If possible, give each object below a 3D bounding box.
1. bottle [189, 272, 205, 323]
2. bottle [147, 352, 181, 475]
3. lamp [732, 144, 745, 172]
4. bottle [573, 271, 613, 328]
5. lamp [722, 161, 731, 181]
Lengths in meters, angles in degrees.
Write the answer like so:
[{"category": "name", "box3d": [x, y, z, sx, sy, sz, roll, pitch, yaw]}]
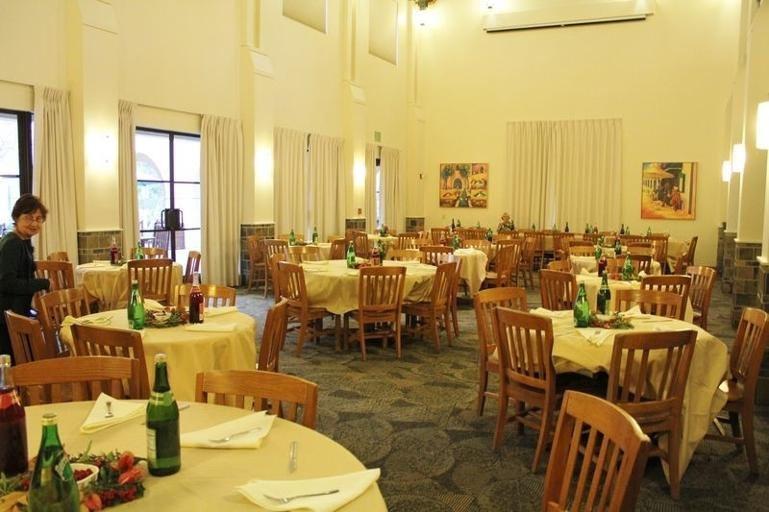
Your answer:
[{"category": "bottle", "box3d": [-1.506, 0.301, 4.513, 0.116, 0.373, 0.483, -4, 12, -19]}, {"category": "bottle", "box3d": [-1.025, 0.710, 2.605, 0.155, 0.568, 0.175, -5, 13, -24]}, {"category": "lamp", "box3d": [5.623, -1.534, 9.065, 0.132, 0.491, 2.848, 7, 13, 29]}, {"category": "bottle", "box3d": [1.798, 0.386, 4.908, 0.413, 0.596, 0.171, 0, -2, -27]}, {"category": "lamp", "box3d": [7.401, -1.827, 12.321, 0.122, 0.502, 1.311, 7, 13, 29]}]
